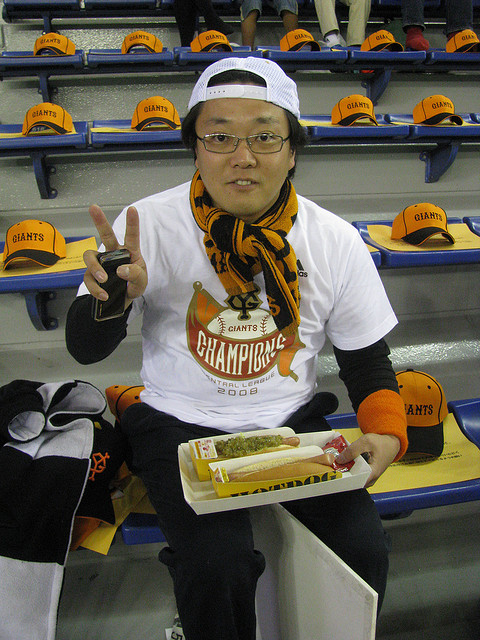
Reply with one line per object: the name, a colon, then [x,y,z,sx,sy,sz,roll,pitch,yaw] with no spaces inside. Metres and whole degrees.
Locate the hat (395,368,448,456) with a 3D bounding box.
hat: [0.523,0.288,1.647,0.176,0.125,0.244,1,38,-8]

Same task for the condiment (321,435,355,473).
condiment: [0.182,0.249,1.007,0.053,0.031,0.104,-3,24,-1]

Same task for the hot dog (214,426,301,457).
hot dog: [0.034,0.222,1.066,0.183,0.049,0.056,-6,-3,-20]

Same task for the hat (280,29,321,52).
hat: [0.294,-1.367,2.650,0.191,0.106,0.188,-1,24,3]

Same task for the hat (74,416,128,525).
hat: [-0.306,0.354,1.221,0.103,0.184,0.141,-3,-12,12]

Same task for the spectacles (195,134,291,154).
spectacles: [0.004,-0.357,1.099,0.182,0.038,0.056,-1,24,3]

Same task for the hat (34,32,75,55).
hat: [-0.824,-1.232,2.422,0.130,0.070,0.167,6,40,0]

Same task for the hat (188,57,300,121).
hat: [0.009,-0.484,1.148,0.127,0.083,0.168,-1,22,-10]

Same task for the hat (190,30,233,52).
hat: [-0.137,-1.294,2.512,0.165,0.105,0.256,8,26,22]

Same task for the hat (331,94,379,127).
hat: [0.528,-0.954,2.473,0.192,0.126,0.180,-5,24,-7]

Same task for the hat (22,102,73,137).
hat: [-0.789,-0.830,2.236,0.149,0.098,0.194,5,20,-6]

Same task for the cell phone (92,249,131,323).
cell phone: [-0.231,-0.055,0.977,0.079,0.130,0.061,-4,25,-3]

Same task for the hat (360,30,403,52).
hat: [0.698,-1.377,2.742,0.151,0.106,0.202,-17,28,-27]

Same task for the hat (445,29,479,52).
hat: [1.128,-1.426,2.802,0.131,0.098,0.173,-9,36,-4]

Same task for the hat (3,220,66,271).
hat: [-0.721,-0.272,1.932,0.163,0.111,0.220,1,9,3]

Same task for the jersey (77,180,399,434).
jersey: [-0.010,-0.051,1.269,0.766,0.532,0.310,-3,22,4]

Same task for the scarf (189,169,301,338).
scarf: [0.012,-0.149,1.191,0.239,0.324,0.239,-2,25,2]

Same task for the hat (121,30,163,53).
hat: [-0.452,-1.278,2.498,0.189,0.098,0.186,-6,24,-9]

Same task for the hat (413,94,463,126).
hat: [0.909,-0.974,2.541,0.146,0.114,0.217,-14,23,-20]

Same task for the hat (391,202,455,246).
hat: [0.728,-0.389,2.172,0.195,0.142,0.285,-4,10,-6]

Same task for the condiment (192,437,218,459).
condiment: [-0.064,0.241,1.006,0.041,0.021,0.055,-7,24,-11]
